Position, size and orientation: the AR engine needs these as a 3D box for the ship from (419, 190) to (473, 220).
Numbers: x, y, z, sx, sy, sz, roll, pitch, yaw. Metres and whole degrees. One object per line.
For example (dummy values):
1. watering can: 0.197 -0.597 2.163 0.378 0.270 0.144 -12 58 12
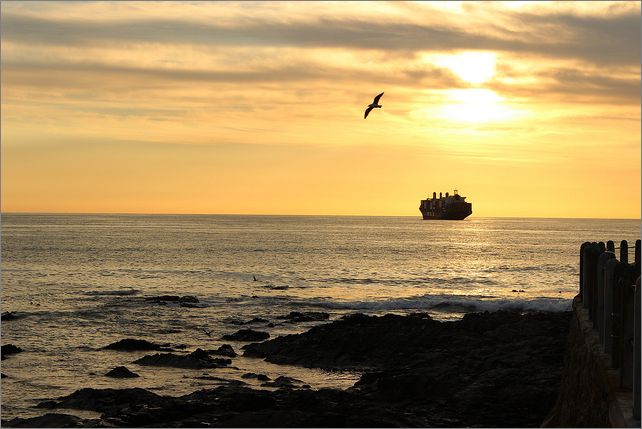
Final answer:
1. ship: 37.109 -3.595 344.535 14.243 9.580 36.265 -1 -1 -7
